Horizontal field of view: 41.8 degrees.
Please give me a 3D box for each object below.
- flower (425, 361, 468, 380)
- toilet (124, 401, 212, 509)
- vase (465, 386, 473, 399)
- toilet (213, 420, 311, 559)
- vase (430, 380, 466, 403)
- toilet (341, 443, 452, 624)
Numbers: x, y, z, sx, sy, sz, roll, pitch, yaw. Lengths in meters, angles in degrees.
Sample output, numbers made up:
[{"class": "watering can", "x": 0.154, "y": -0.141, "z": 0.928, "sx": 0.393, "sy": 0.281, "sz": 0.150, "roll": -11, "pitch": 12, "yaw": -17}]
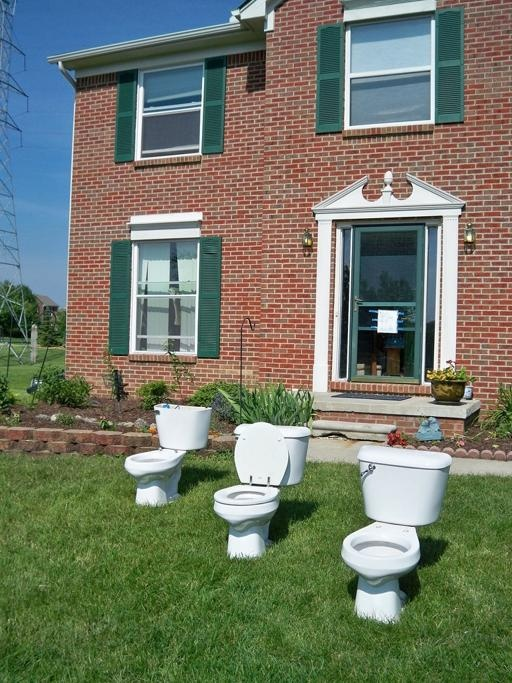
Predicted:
[{"class": "flower", "x": 2.396, "y": 0.432, "z": 8.470, "sx": 0.356, "sy": 0.218, "sz": 0.369, "roll": 1, "pitch": -3, "yaw": -23}, {"class": "toilet", "x": -0.782, "y": 0.961, "z": 5.587, "sx": 0.451, "sy": 0.778, "sz": 0.773, "roll": 1, "pitch": 0, "yaw": 25}, {"class": "vase", "x": 2.827, "y": 0.699, "z": 8.874, "sx": 0.127, "sy": 0.193, "sz": 0.134, "roll": 0, "pitch": -6, "yaw": 12}, {"class": "toilet", "x": 0.013, "y": 1.024, "z": 4.693, "sx": 0.502, "sy": 0.881, "sz": 0.964, "roll": 0, "pitch": -3, "yaw": 20}, {"class": "vase", "x": 2.415, "y": 0.646, "z": 8.411, "sx": 0.390, "sy": 0.303, "sz": 0.289, "roll": 0, "pitch": 4, "yaw": 16}, {"class": "toilet", "x": 0.763, "y": 1.089, "z": 3.695, "sx": 0.482, "sy": 0.863, "sz": 0.748, "roll": 4, "pitch": 7, "yaw": 21}]
